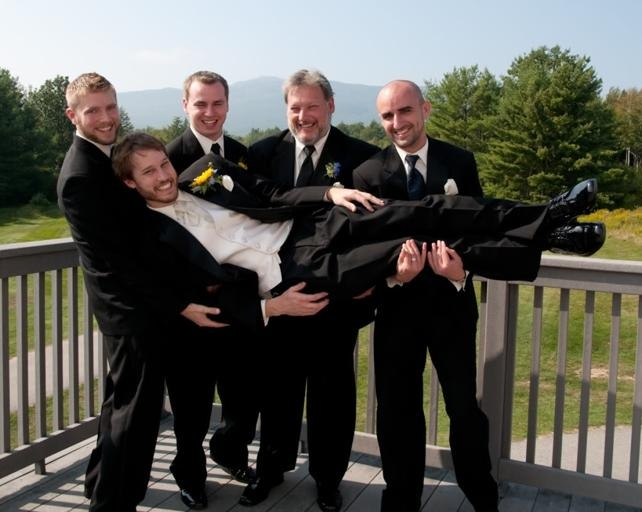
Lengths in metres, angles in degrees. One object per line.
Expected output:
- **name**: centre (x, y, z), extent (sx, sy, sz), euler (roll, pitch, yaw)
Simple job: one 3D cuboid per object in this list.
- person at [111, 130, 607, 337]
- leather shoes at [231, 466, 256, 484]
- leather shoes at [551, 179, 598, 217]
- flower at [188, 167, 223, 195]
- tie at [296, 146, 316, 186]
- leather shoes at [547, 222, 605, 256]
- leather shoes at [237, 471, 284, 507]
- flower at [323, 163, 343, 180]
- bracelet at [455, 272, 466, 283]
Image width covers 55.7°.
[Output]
- **person**: centre (-0.019, -0.168, 3.604), extent (3.018, 1.157, 0.995), euler (1, 47, 7)
- **leather shoes**: centre (-0.480, 1.349, 3.754), extent (0.168, 0.089, 0.068), euler (5, 7, 32)
- **leather shoes**: centre (1.221, -0.263, 2.906), extent (0.115, 0.103, 0.310), euler (1, -10, -18)
- **flower**: centre (-0.657, -0.426, 3.426), extent (0.070, 0.149, 0.151), euler (32, 17, -17)
- **tie**: centre (-0.082, -0.540, 3.791), extent (0.070, 0.325, 0.082), euler (8, -21, 17)
- **leather shoes**: centre (1.234, -0.077, 2.961), extent (0.104, 0.139, 0.241), euler (8, -15, -40)
- **leather shoes**: centre (-0.364, 1.377, 3.591), extent (0.106, 0.123, 0.316), euler (-3, -3, 35)
- **flower**: centre (0.068, -0.517, 3.701), extent (0.099, 0.102, 0.042), euler (-2, -15, 16)
- **bracelet**: centre (0.723, 0.110, 3.160), extent (0.046, 0.052, 0.059), euler (-13, 29, 25)
